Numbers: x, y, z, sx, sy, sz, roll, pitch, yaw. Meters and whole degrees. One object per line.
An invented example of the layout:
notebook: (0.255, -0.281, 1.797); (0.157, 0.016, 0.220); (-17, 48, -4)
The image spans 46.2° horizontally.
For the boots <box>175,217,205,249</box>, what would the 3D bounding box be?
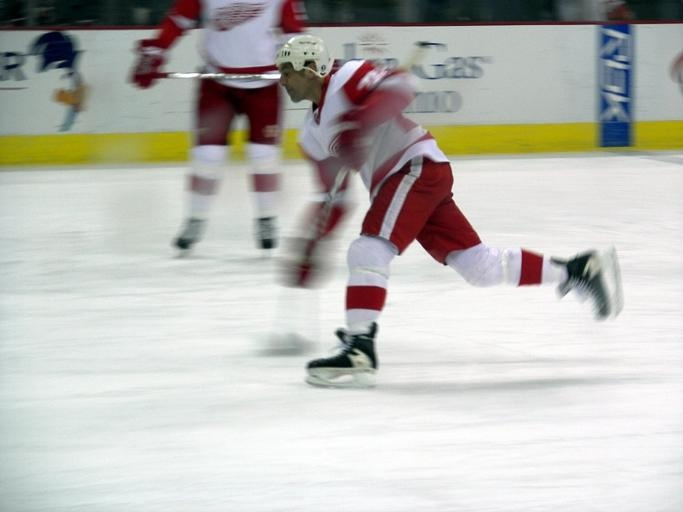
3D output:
boots: (-0.804, -0.121, 4.269); (0.132, 0.172, 0.074); (-8, 19, -29)

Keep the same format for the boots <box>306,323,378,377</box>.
boots: (0.006, 0.293, 2.486); (0.217, 0.172, 0.092); (1, 16, 1)

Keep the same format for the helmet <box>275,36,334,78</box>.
helmet: (-0.109, -0.641, 2.608); (0.215, 0.120, 0.135); (-18, 19, 2)
